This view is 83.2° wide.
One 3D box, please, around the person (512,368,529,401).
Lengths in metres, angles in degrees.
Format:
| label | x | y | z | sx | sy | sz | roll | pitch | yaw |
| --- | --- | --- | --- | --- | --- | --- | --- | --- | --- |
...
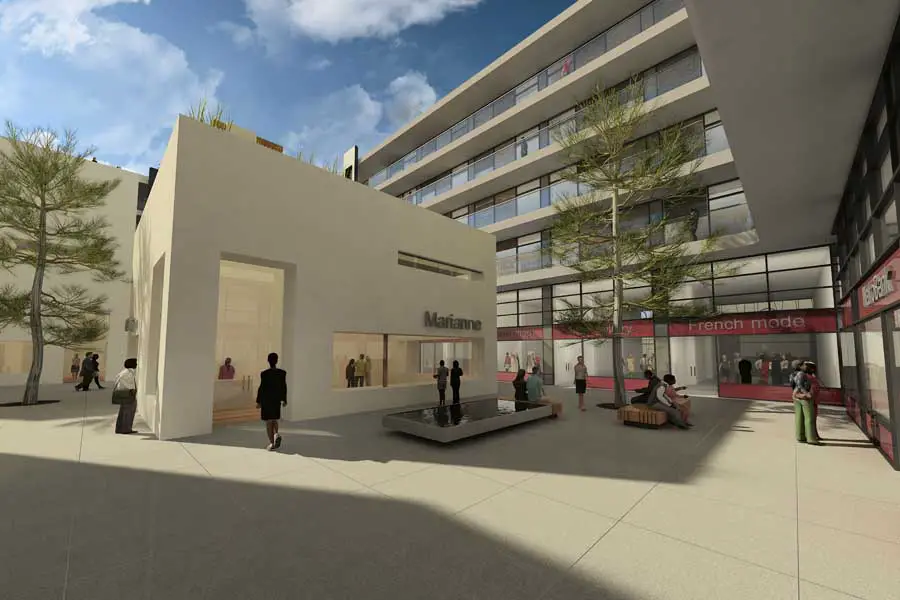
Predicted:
| label | x | y | z | sx | sy | sz | roll | pitch | yaw |
| --- | --- | --- | --- | --- | --- | --- | --- | --- | --- |
| person | 2.564 | 3.017 | 18.320 | 0.426 | 1.082 | 1.020 | -2 | -7 | 8 |

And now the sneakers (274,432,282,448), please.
| label | x | y | z | sx | sy | sz | roll | pitch | yaw |
| --- | --- | --- | --- | --- | --- | --- | --- | --- | --- |
| sneakers | -4.758 | 3.867 | 14.023 | 0.202 | 0.380 | 0.142 | -13 | 31 | -42 |

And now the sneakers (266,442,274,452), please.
| label | x | y | z | sx | sy | sz | roll | pitch | yaw |
| --- | --- | --- | --- | --- | --- | --- | --- | --- | --- |
| sneakers | -5.000 | 4.023 | 14.068 | 0.176 | 0.176 | 0.449 | 2 | -8 | -24 |

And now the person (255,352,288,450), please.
| label | x | y | z | sx | sy | sz | roll | pitch | yaw |
| --- | --- | --- | --- | --- | --- | --- | --- | --- | --- |
| person | -5.177 | 2.852 | 14.734 | 0.734 | 2.632 | 1.589 | 1 | -7 | -17 |

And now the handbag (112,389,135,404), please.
| label | x | y | z | sx | sy | sz | roll | pitch | yaw |
| --- | --- | --- | --- | --- | --- | --- | --- | --- | --- |
| handbag | -9.714 | 2.846 | 15.124 | 0.473 | 0.355 | 0.173 | 4 | -10 | -40 |
